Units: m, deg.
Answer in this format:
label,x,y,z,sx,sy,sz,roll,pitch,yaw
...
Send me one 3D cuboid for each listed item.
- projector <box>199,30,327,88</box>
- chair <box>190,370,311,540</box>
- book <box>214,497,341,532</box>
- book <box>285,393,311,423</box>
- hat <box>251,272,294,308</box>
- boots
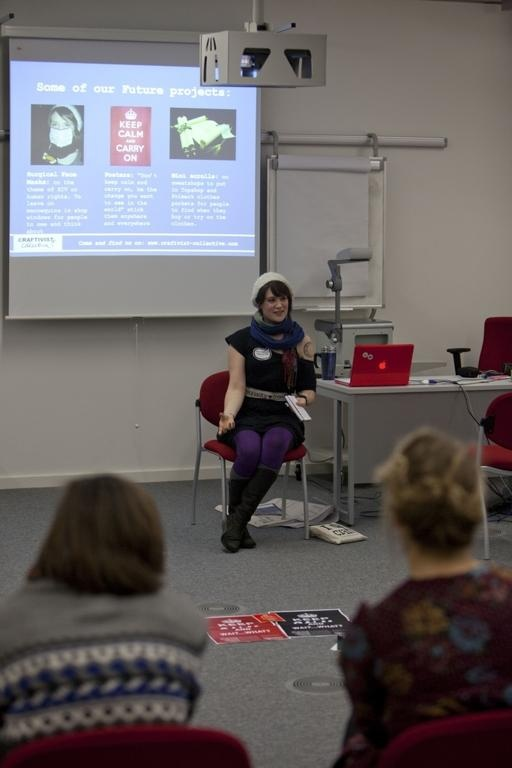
label,x,y,z,sx,sy,sz,roll,pitch,yaw
projector,0.030,-1.559,3.150,0.589,0.312,0.233,0,4,-5
chair,-0.085,0.360,3.896,0.526,0.804,0.512,-3,9,-16
book,0.183,0.797,4.150,0.319,0.091,0.399,0,3,-17
book,0.231,0.134,3.711,0.032,0.141,0.142,-36,57,-5
hat,0.079,-0.602,3.922,0.215,0.183,0.223,-2,-24,6
boots,-0.064,0.655,3.585,0.312,0.421,0.184,-3,5,-35
